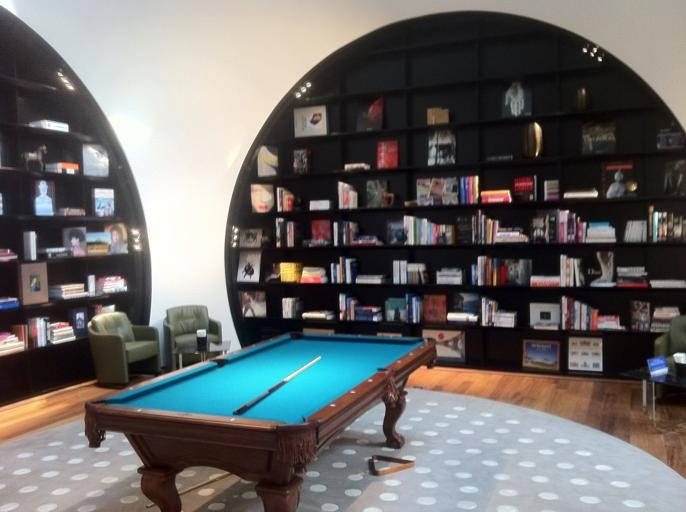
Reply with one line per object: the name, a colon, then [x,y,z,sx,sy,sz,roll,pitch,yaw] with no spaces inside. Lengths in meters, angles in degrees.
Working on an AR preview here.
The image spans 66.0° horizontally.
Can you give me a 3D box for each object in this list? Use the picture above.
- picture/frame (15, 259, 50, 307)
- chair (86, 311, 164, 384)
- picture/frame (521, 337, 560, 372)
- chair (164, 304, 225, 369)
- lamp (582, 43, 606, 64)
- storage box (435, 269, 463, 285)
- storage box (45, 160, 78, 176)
picture/frame: [-3.811,0.330,6.491,0.113,0.534,0.321,4,8,44]
chair: [-2.902,1.169,7.220,0.903,1.181,0.812,-2,-1,29]
picture/frame: [2.640,1.317,7.023,0.390,0.374,0.043,1,-1,27]
chair: [-2.000,1.025,7.220,0.825,1.013,0.795,-2,1,-27]
lamp: [3.113,-2.520,6.560,0.265,0.208,0.353,2,7,26]
storage box: [1.477,0.283,7.258,0.277,0.169,0.215,0,3,27]
storage box: [-3.655,-1.094,6.824,0.226,0.123,0.243,3,3,28]
